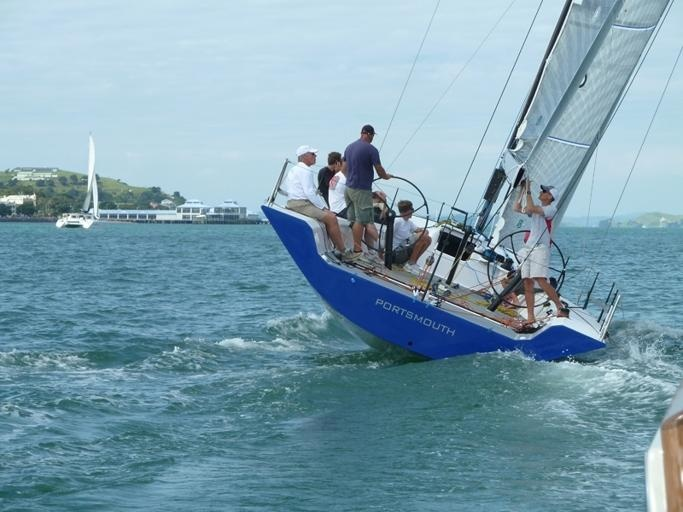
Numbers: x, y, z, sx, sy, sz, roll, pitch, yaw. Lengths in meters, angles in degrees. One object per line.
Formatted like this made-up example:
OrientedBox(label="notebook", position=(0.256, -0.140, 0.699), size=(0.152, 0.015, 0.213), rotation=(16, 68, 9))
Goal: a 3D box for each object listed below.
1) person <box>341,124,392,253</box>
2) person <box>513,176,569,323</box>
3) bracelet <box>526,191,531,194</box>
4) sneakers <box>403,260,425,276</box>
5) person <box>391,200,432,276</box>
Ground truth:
OrientedBox(label="person", position=(0.301, -0.866, 13.198), size=(0.498, 1.709, 0.656), rotation=(-10, 17, -25))
OrientedBox(label="person", position=(2.588, -0.060, 13.183), size=(0.680, 1.993, 1.520), rotation=(0, 14, 9))
OrientedBox(label="bracelet", position=(2.326, -0.802, 12.575), size=(0.044, 0.024, 0.042), rotation=(5, 8, 34))
OrientedBox(label="sneakers", position=(1.012, 0.169, 14.030), size=(0.391, 0.116, 0.124), rotation=(4, 6, 7))
OrientedBox(label="person", position=(0.970, -0.340, 14.042), size=(0.525, 0.943, 0.763), rotation=(-1, 14, 4))
